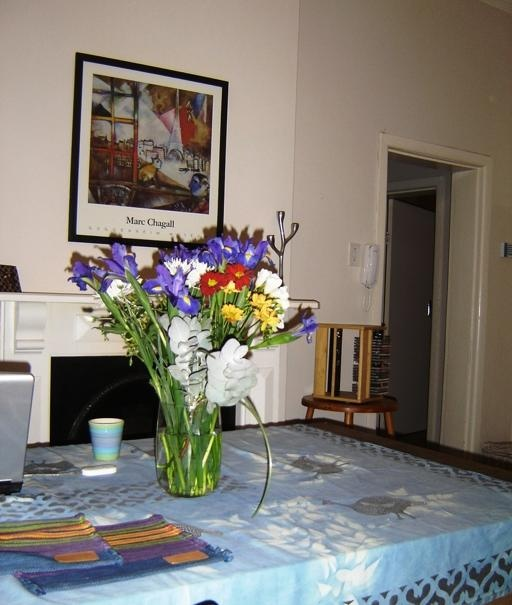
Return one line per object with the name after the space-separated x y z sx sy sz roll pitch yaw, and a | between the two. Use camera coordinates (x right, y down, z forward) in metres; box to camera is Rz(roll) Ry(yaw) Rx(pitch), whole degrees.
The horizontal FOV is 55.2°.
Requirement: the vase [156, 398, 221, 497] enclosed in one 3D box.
-0.119 0.258 0.878 0.119 0.173 0.115 -4 -10 27 | vase

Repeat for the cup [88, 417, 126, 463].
-0.310 0.295 1.033 0.075 0.083 0.075 -1 -7 0 | cup

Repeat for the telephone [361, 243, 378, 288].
0.693 -0.222 2.975 0.120 0.267 0.064 6 -8 -32 | telephone
